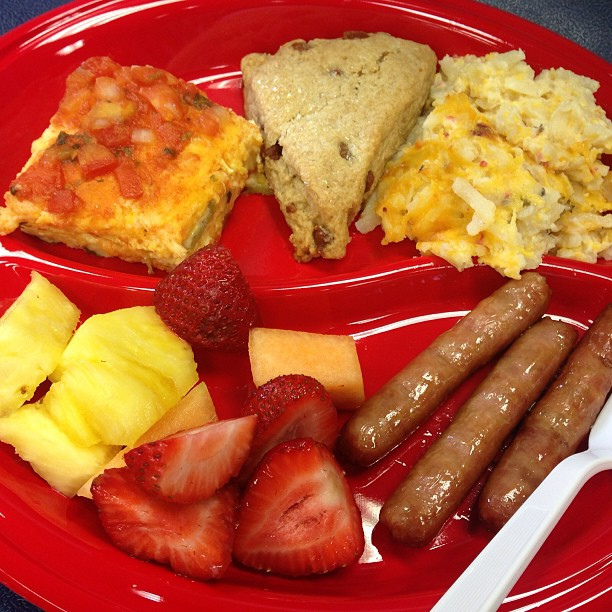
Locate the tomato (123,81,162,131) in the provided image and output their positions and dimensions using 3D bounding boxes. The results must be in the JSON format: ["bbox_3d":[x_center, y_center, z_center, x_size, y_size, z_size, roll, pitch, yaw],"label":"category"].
[{"bbox_3d":[-0.683,-0.831,2.726,0.153,0.086,0.251,-12,53,-5],"label":"tomato"}]

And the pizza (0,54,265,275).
[{"bbox_3d":[-0.731,-0.547,2.791,0.806,0.607,0.888,18,57,17],"label":"pizza"}]

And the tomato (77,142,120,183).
[{"bbox_3d":[-0.831,-0.582,2.621,0.155,0.084,0.138,-22,55,-12],"label":"tomato"}]
